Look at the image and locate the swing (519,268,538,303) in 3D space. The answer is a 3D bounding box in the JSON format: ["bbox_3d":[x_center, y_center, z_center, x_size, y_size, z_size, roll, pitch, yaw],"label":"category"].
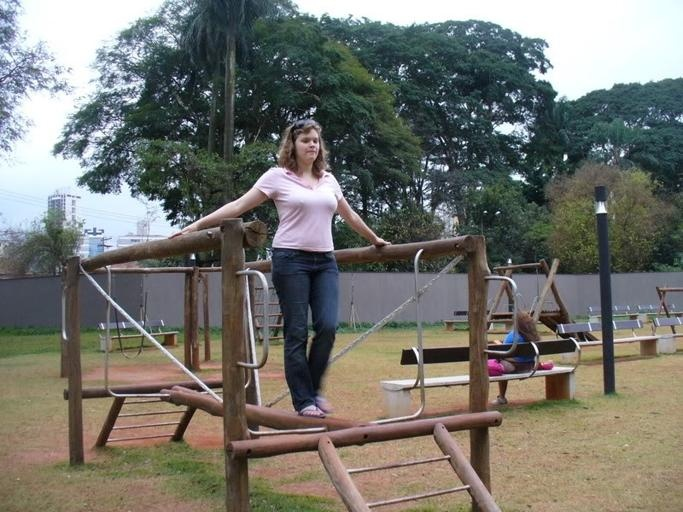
[{"bbox_3d":[7.582,1.213,26.580,1.250,1.344,0.711,1,5,13],"label":"swing"}]

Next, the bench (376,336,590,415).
[{"bbox_3d":[1.735,1.439,7.939,2.692,0.849,1.210,1,-3,-31],"label":"bench"}]

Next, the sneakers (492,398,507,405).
[{"bbox_3d":[2.063,1.897,8.543,0.077,0.103,0.227,7,-6,-25],"label":"sneakers"}]

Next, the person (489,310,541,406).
[{"bbox_3d":[2.214,1.341,8.525,0.448,1.353,0.772,0,4,-25],"label":"person"}]

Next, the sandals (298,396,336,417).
[{"bbox_3d":[-0.181,1.116,4.852,0.105,0.133,0.303,2,-15,-14],"label":"sandals"}]
